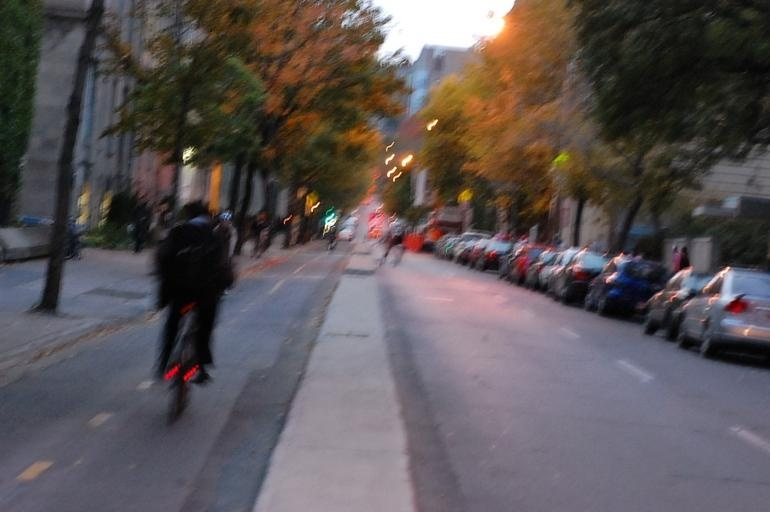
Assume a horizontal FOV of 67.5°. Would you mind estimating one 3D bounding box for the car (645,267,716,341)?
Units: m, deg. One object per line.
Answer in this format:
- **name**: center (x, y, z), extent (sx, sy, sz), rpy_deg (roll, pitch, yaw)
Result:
- **car**: center (7.856, 1.277, 15.549), extent (1.048, 1.201, 2.631), rpy_deg (1, 3, 4)
